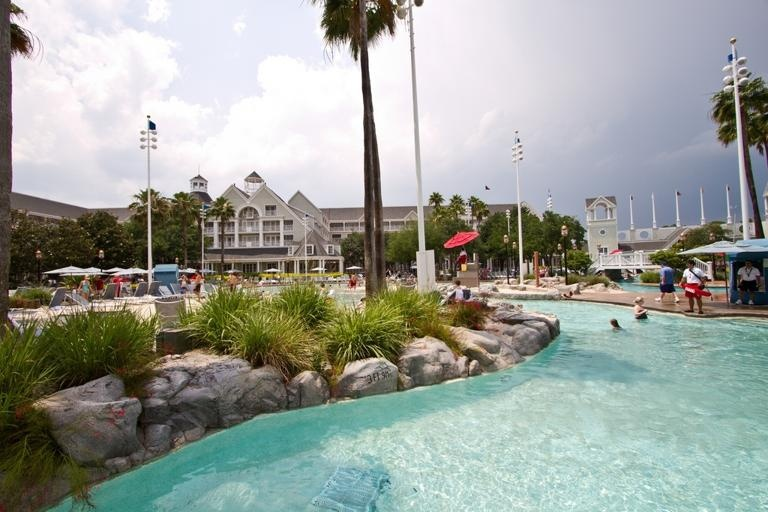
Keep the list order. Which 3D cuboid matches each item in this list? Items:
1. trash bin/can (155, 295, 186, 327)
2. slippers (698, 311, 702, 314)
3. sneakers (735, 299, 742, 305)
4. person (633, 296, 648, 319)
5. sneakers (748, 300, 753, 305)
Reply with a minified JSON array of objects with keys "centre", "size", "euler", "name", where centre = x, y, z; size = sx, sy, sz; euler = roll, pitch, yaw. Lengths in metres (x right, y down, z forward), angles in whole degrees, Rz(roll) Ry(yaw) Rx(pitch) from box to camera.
[{"centre":[-5.922,1.543,14.453],"size":[0.812,1.027,0.857],"euler":[1,-4,-10],"name":"trash bin/can"},{"centre":[12.968,2.323,21.301],"size":[0.119,0.082,0.126],"euler":[-2,-5,8],"name":"slippers"},{"centre":[15.596,2.055,22.870],"size":[0.118,0.179,0.398],"euler":[-6,-21,38],"name":"sneakers"},{"centre":[11.280,2.324,22.906],"size":[0.400,1.270,0.548],"euler":[-10,11,-5],"name":"person"},{"centre":[15.784,2.008,22.308],"size":[0.183,0.202,0.115],"euler":[1,-1,-9],"name":"sneakers"}]
